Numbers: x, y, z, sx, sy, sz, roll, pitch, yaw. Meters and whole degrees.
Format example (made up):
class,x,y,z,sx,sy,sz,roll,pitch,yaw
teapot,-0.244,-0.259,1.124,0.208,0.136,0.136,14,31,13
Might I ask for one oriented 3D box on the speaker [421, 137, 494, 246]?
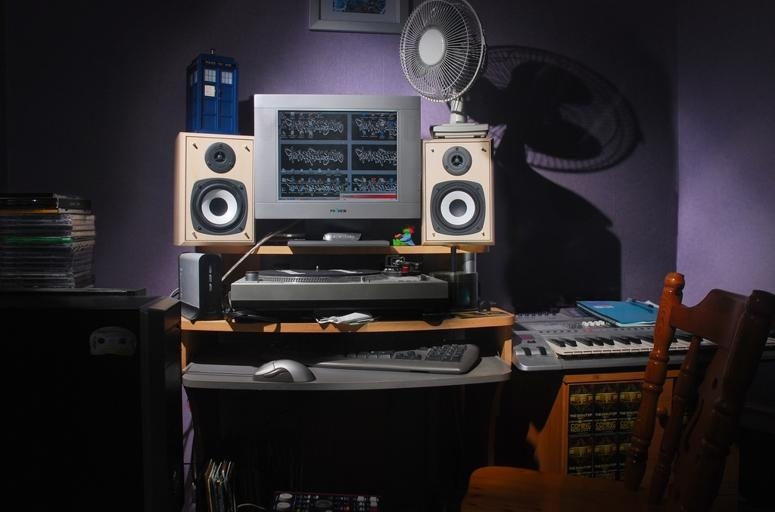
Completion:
class,x,y,z,sx,sy,sz,roll,pitch,yaw
speaker,0.347,-0.304,2.937,0.377,0.486,0.330,-1,2,22

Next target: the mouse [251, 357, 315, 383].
class,x,y,z,sx,sy,sz,roll,pitch,yaw
mouse,-0.427,0.470,2.500,0.175,0.057,0.111,4,0,0

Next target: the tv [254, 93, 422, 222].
class,x,y,z,sx,sy,sz,roll,pitch,yaw
tv,-0.230,-0.464,2.974,1.008,0.741,0.521,0,0,-3

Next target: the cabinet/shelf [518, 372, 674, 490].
class,x,y,z,sx,sy,sz,roll,pitch,yaw
cabinet/shelf,0.976,0.682,2.863,0.611,0.601,0.349,-5,21,6

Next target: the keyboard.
class,x,y,z,sx,sy,sz,roll,pitch,yaw
keyboard,0.051,0.438,2.695,0.709,0.103,0.251,3,3,7
